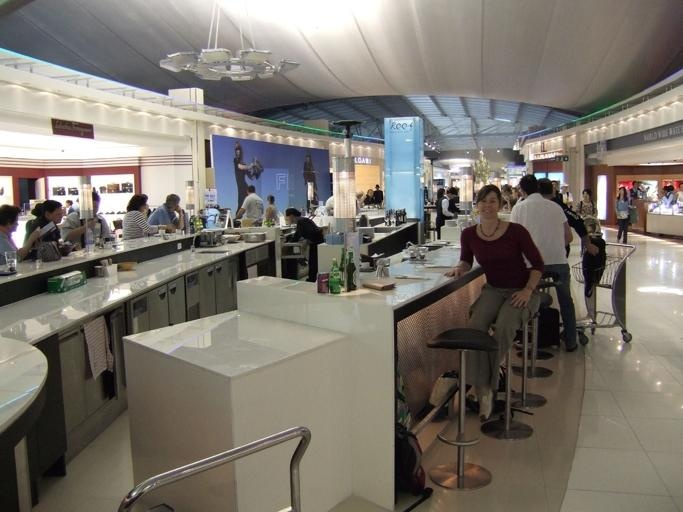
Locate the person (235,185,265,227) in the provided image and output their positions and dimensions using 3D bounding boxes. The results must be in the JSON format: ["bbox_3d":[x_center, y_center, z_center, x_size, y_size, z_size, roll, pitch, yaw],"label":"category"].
[{"bbox_3d":[-2.112,-1.213,11.253,0.561,0.815,1.889,-4,10,-11],"label":"person"}]

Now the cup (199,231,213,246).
[{"bbox_3d":[-2.013,-0.272,7.386,0.198,0.209,0.207,1,10,0],"label":"cup"}]

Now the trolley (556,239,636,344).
[{"bbox_3d":[2.999,0.405,5.847,0.762,1.100,0.657,0,3,2],"label":"trolley"}]

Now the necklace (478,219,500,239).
[{"bbox_3d":[1.141,-0.210,3.764,0.181,0.151,0.121,3,-2,-24],"label":"necklace"}]

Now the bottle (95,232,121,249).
[{"bbox_3d":[-2.791,-0.176,5.844,0.227,0.137,0.313,0,4,-20],"label":"bottle"}]

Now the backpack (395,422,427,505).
[{"bbox_3d":[0.477,1.402,3.271,0.211,0.406,0.355,-3,-9,11],"label":"backpack"}]

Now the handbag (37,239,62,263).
[{"bbox_3d":[-2.826,-0.051,4.737,0.196,0.209,0.197,-2,7,20],"label":"handbag"}]

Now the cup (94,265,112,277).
[{"bbox_3d":[-2.382,0.144,4.906,0.111,0.106,0.155,1,4,0],"label":"cup"}]

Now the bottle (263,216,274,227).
[{"bbox_3d":[-1.385,-0.657,9.395,0.161,0.112,0.225,1,3,-3],"label":"bottle"}]

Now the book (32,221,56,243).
[{"bbox_3d":[-3.056,-0.254,5.048,0.161,0.041,0.168,-17,15,19],"label":"book"}]

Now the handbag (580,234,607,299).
[{"bbox_3d":[2.807,0.122,5.576,0.243,0.671,0.170,-42,34,-18],"label":"handbag"}]

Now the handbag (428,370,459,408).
[{"bbox_3d":[0.878,1.057,4.058,0.133,0.181,0.436,-2,20,41],"label":"handbag"}]

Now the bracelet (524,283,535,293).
[{"bbox_3d":[1.408,0.236,3.687,0.061,0.026,0.064,3,13,34],"label":"bracelet"}]

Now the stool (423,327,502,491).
[{"bbox_3d":[0.793,1.035,3.313,0.453,0.928,0.520,1,-8,10],"label":"stool"}]

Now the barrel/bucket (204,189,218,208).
[{"bbox_3d":[-2.601,-1.154,9.732,0.193,0.367,0.356,-5,11,-19],"label":"barrel/bucket"}]

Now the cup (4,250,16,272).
[{"bbox_3d":[-2.834,0.036,4.207,0.075,0.172,0.189,-9,12,-36],"label":"cup"}]

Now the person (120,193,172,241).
[{"bbox_3d":[-2.980,-0.454,7.415,0.590,0.998,0.422,-12,23,-42],"label":"person"}]

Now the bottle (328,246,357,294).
[{"bbox_3d":[0.006,0.091,3.416,0.171,0.292,0.289,1,10,15],"label":"bottle"}]
